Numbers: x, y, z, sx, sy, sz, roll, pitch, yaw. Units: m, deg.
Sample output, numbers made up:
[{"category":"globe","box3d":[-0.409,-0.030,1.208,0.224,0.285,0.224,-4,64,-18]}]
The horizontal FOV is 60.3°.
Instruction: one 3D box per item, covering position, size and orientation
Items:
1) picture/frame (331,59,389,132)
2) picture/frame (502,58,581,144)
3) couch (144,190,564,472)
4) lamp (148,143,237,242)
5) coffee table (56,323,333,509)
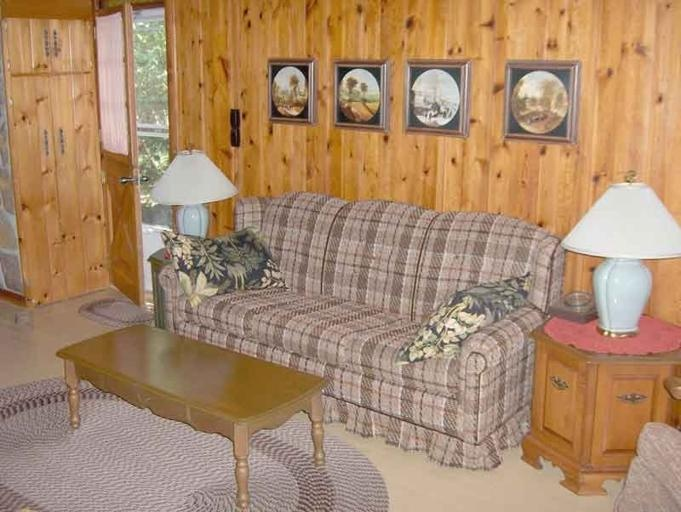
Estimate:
[{"category":"picture/frame","box3d":[0.158,-1.189,4.275,0.512,0.518,0.053,11,19,34]},{"category":"picture/frame","box3d":[1.245,-0.961,3.585,0.485,0.490,0.050,14,20,27]},{"category":"couch","box3d":[0.025,0.336,4.078,2.638,1.305,1.103,11,20,39]},{"category":"lamp","box3d":[-1.108,-0.501,4.613,0.661,0.676,0.673,17,24,39]},{"category":"coffee table","box3d":[-0.811,0.849,3.269,1.415,0.565,0.623,10,18,31]}]
